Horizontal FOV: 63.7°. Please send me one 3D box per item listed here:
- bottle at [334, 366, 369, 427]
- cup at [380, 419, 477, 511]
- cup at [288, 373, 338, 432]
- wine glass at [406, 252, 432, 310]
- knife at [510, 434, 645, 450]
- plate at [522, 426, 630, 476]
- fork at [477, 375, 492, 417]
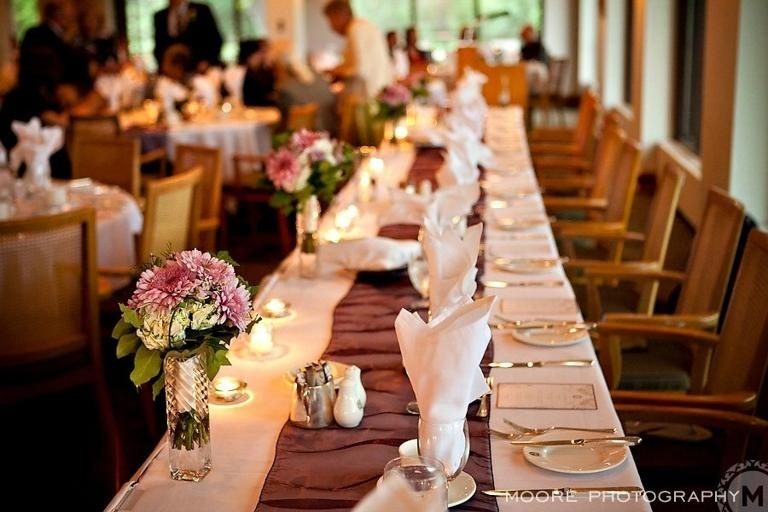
[{"bbox_3d":[-0.090,0.385,1.671,0.099,0.148,0.105,4,18,-1],"label":"bottle"},{"bbox_3d":[0.121,0.453,1.432,0.200,0.133,0.197,-1,1,0],"label":"cup"},{"bbox_3d":[-0.189,0.405,1.695,0.120,0.096,0.119,1,2,0],"label":"cup"},{"bbox_3d":[0.134,0.097,2.299,0.147,0.232,0.161,0,6,2],"label":"wine glass"},{"bbox_3d":[0.474,0.469,1.561,0.407,0.038,0.033,0,16,0],"label":"knife"},{"bbox_3d":[0.479,0.485,1.535,0.262,0.041,0.135,-5,18,-4],"label":"plate"},{"bbox_3d":[0.286,0.365,1.770,0.039,0.035,0.224,-1,30,11],"label":"fork"}]
